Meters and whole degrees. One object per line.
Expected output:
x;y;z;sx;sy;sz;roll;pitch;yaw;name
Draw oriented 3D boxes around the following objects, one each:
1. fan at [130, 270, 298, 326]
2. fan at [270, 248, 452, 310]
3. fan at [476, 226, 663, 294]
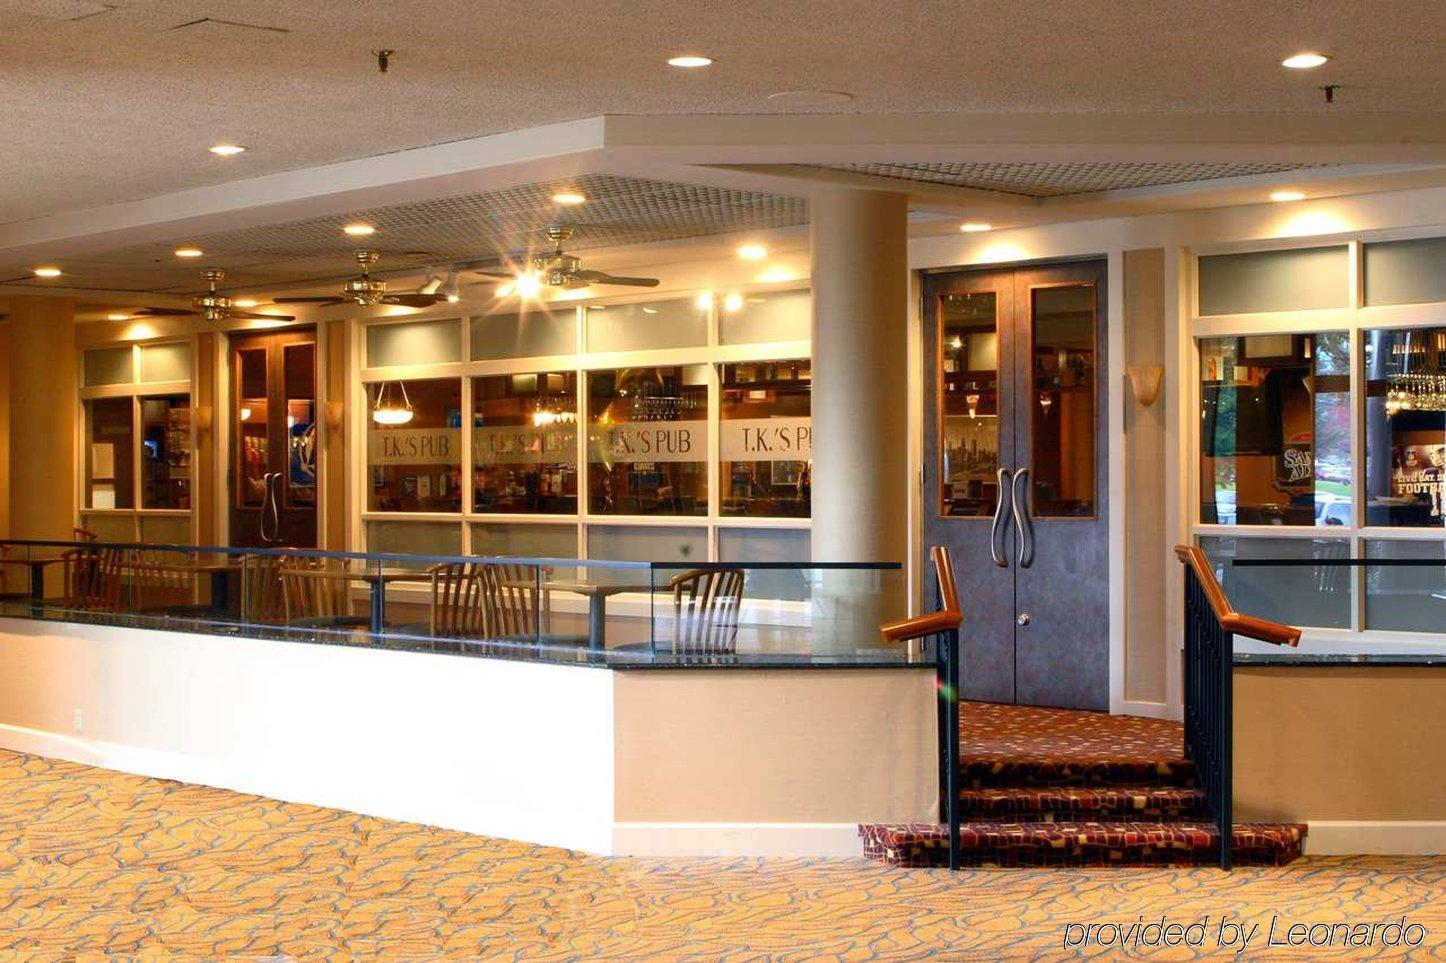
-4.927;-1.704;11.651;1.211;0.274;1.130;2;-5;-34;fan
-3.255;-1.859;10.844;0.763;0.211;0.655;-4;-6;26;fan
-1.220;-1.626;9.341;1.004;0.285;0.903;1;4;18;fan
